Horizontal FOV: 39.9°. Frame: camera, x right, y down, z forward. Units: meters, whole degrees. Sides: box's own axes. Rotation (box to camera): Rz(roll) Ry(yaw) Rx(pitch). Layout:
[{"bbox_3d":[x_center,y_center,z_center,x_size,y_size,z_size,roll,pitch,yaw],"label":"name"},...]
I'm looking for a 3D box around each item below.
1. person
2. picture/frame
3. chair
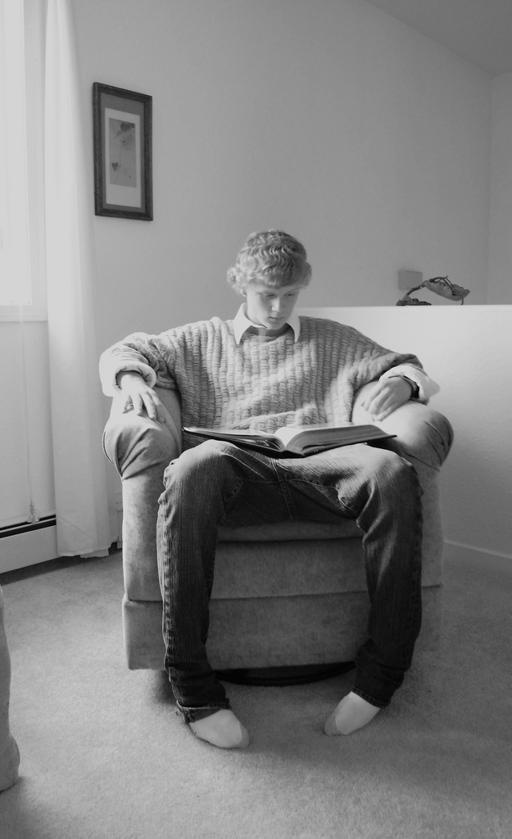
[{"bbox_3d":[0.068,0.052,1.539,0.779,0.978,0.699,-2,7,-13],"label":"person"},{"bbox_3d":[-0.452,-0.901,2.405,0.037,0.428,0.234,5,9,41],"label":"picture/frame"},{"bbox_3d":[0.041,0.149,1.613,0.679,0.651,0.556,3,17,-6],"label":"chair"}]
